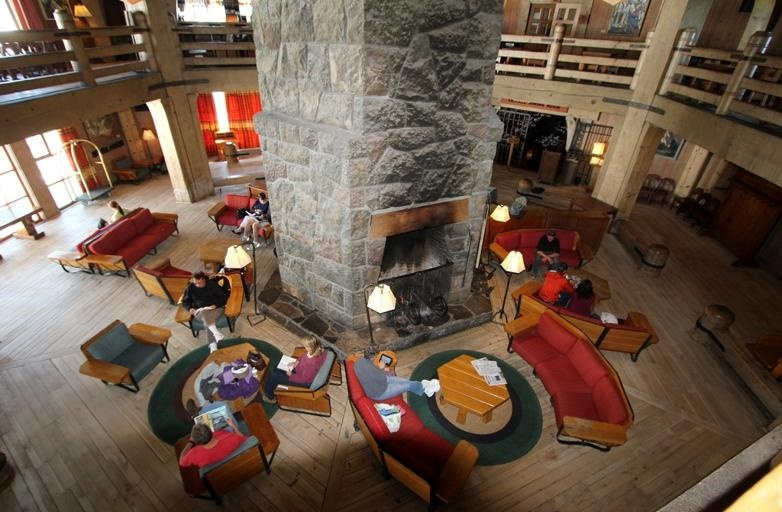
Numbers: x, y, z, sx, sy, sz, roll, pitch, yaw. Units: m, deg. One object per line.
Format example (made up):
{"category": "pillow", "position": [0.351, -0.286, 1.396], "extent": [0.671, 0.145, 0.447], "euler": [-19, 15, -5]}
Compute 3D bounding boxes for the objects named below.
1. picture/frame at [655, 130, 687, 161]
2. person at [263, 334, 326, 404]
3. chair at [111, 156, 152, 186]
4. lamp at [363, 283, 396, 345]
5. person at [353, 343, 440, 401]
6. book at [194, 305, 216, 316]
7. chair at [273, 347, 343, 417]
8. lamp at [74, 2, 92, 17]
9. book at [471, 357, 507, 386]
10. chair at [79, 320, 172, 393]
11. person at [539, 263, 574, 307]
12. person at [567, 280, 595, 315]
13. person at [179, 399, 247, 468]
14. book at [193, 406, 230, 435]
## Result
{"category": "picture/frame", "position": [10.860, -4.276, 16.690], "extent": [0.804, 0.893, 0.635], "euler": [24, 38, 30]}
{"category": "person", "position": [-2.172, 2.609, 9.659], "extent": [1.216, 1.696, 0.800], "euler": [15, 20, 6]}
{"category": "chair", "position": [-10.626, -3.568, 17.622], "extent": [1.041, 0.878, 1.092], "euler": [3, 31, 2]}
{"category": "lamp", "position": [-0.295, 1.345, 10.062], "extent": [0.812, 1.618, 0.472], "euler": [-8, 55, 2]}
{"category": "person", "position": [0.138, 2.704, 9.508], "extent": [2.005, 0.836, 0.799], "euler": [9, -2, -24]}
{"category": "book", "position": [-4.564, 1.347, 10.525], "extent": [0.522, 0.219, 0.181], "euler": [-3, 33, -9]}
{"category": "chair", "position": [-1.817, 2.848, 9.807], "extent": [1.307, 0.916, 1.226], "euler": [2, 29, 3]}
{"category": "lamp", "position": [-10.960, -8.744, 15.265], "extent": [0.465, 0.273, 0.409], "euler": [-9, 34, -27]}
{"category": "book", "position": [2.220, 2.627, 9.746], "extent": [0.636, 0.138, 0.618], "euler": [-4, 40, -13]}
{"category": "chair", "position": [-6.104, 2.284, 9.960], "extent": [1.342, 0.946, 1.594], "euler": [12, 38, 11]}
{"category": "person", "position": [4.357, 0.817, 11.325], "extent": [0.977, 1.118, 0.796], "euler": [1, 19, -3]}
{"category": "person", "position": [4.730, 1.047, 10.798], "extent": [0.621, 0.988, 0.594], "euler": [10, 49, 21]}
{"category": "person", "position": [-3.531, 3.567, 8.544], "extent": [0.770, 1.390, 0.735], "euler": [-18, 69, -20]}
{"category": "book", "position": [-3.655, 3.362, 8.809], "extent": [0.659, 0.174, 0.450], "euler": [-12, 37, -32]}
